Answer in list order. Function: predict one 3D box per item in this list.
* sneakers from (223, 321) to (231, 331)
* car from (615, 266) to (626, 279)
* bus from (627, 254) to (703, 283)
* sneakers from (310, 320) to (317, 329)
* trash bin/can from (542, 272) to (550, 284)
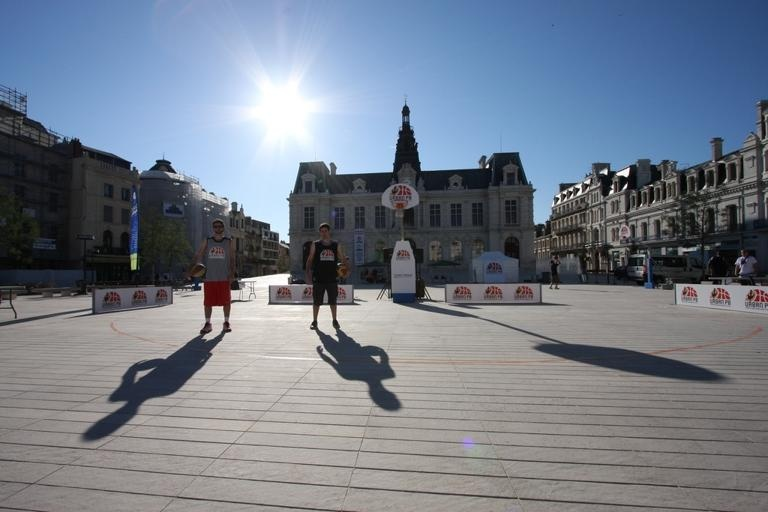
[{"bbox_3d":[-3.182,1.437,10.865,0.136,0.189,0.384,-3,10,-18],"label":"sneakers"},{"bbox_3d":[18.743,1.381,42.195,0.688,1.287,2.390,4,10,21],"label":"car"},{"bbox_3d":[19.030,0.799,35.271,4.276,2.087,2.660,-3,2,2],"label":"bus"},{"bbox_3d":[-1.469,1.468,11.321,0.149,0.154,0.371,0,-8,-1],"label":"sneakers"},{"bbox_3d":[14.750,2.013,48.188,0.763,1.510,0.791,-2,-7,14],"label":"trash bin/can"}]
